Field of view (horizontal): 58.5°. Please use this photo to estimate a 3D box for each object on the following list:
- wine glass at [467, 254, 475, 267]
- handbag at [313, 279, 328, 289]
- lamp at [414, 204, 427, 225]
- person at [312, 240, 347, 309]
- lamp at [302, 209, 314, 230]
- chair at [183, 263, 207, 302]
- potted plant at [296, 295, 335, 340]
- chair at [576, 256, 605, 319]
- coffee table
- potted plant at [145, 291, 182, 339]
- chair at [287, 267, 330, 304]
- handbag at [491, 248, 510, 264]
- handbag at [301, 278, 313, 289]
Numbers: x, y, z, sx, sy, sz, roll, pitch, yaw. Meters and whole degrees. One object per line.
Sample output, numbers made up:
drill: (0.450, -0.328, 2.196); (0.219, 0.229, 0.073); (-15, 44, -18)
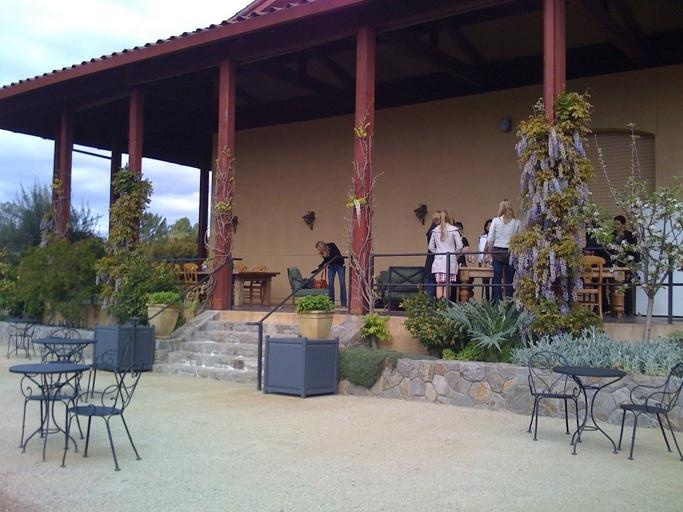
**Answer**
wine glass: (2.445, 0.096, 11.412); (0.175, 0.102, 0.277); (3, 13, 8)
handbag: (-0.471, 0.625, 13.608); (0.272, 0.307, 0.190); (-5, -10, 35)
lamp: (1.849, -0.963, 14.186); (0.175, 0.489, 0.409); (-2, 2, -45)
person: (-0.195, 0.337, 12.765); (0.680, 1.451, 2.748); (1, -3, -2)
lamp: (-0.822, -0.905, 15.704); (0.380, 0.431, 0.139); (-13, 0, 26)
chair: (-3.164, 0.595, 13.184); (0.613, 0.761, 0.472); (0, -5, 0)
potted plant: (-0.424, 0.935, 9.875); (0.546, 0.821, 0.697); (2, -6, -32)
chair: (3.947, 0.439, 9.804); (0.541, 1.029, 0.621); (-2, 11, 12)
coffee table: (2.853, 1.776, 7.038); (0.700, 0.954, 0.739); (2, -1, 42)
potted plant: (-3.276, 1.137, 11.550); (0.705, 1.097, 0.690); (-7, -10, 44)
chair: (-0.740, 0.620, 12.928); (0.720, 0.746, 0.620); (3, 10, 8)
handbag: (2.546, -0.033, 9.726); (0.230, 0.209, 0.227); (6, 10, 44)
handbag: (-0.735, 0.552, 12.955); (0.260, 0.299, 0.280); (-1, 2, -19)
